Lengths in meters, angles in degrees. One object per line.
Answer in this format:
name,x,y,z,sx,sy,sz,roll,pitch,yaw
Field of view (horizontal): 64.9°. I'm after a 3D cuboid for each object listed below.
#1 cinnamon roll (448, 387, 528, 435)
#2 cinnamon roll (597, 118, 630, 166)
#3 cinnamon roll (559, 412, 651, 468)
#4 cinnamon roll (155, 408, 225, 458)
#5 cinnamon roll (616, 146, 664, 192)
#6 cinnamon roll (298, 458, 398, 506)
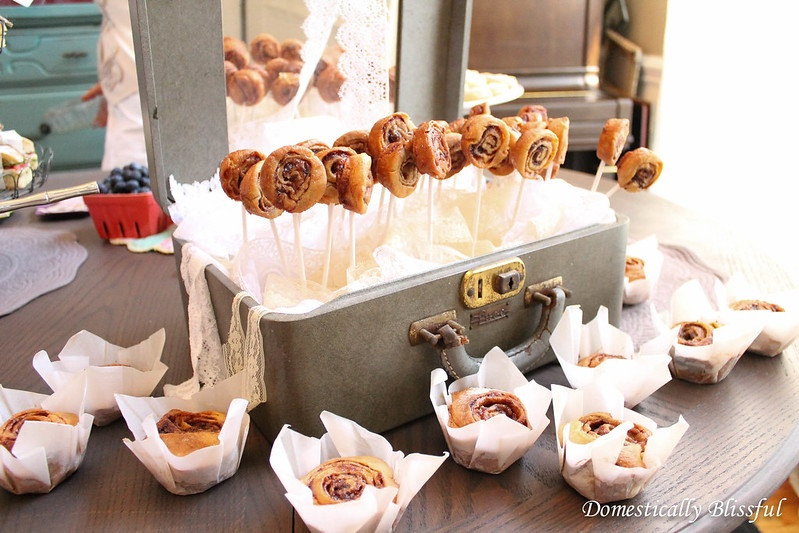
cinnamon roll,0.127,0.204,0.906,0.117,0.043,0.085,5,24,12
cinnamon roll,0.369,-0.210,1.113,0.039,0.038,0.104,27,48,-12
cinnamon roll,0.290,0.238,0.886,0.112,0.038,0.088,10,26,23
cinnamon roll,-0.299,0.235,0.886,0.094,0.020,0.090,0,23,0
cinnamon roll,0.408,-0.169,1.107,0.064,0.081,0.029,36,22,-22
cinnamon roll,-0.068,0.283,0.843,0.120,0.018,0.071,-8,24,-17
